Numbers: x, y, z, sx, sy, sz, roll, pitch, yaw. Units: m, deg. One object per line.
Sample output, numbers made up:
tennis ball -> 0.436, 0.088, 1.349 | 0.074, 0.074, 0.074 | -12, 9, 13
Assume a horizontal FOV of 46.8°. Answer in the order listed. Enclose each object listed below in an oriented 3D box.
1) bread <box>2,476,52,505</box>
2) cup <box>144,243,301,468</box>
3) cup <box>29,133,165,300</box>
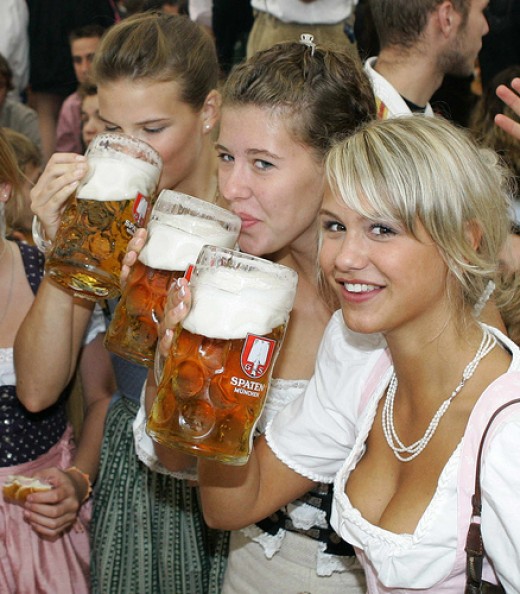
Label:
bread -> -0.607, 0.486, 1.559 | 0.133, 0.066, 0.042 | 7, -4, 7
cup -> -0.059, 0.079, 0.880 | 0.163, 0.296, 0.207 | 13, 36, 9
cup -> -0.287, -0.168, 1.179 | 0.234, 0.250, 0.219 | 15, 3, -1
